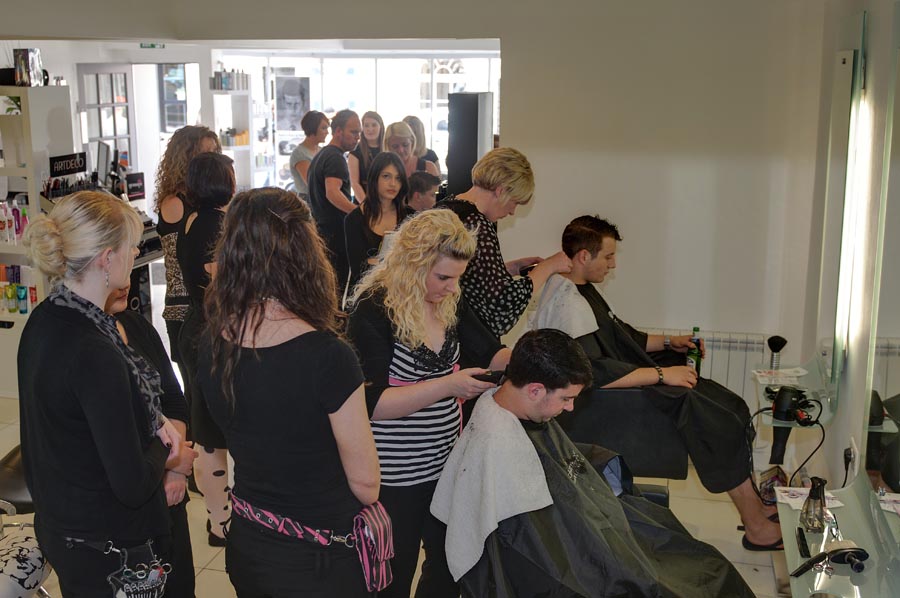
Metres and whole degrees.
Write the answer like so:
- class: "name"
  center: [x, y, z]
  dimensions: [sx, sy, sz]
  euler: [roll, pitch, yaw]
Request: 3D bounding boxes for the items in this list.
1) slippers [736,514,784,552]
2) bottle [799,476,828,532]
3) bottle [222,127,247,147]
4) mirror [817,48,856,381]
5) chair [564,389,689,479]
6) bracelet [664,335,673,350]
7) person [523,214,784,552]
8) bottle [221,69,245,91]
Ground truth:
- class: "slippers"
  center: [1.662, 1.250, 3.756]
  dimensions: [0.256, 0.096, 0.119]
  euler: [-7, 24, -2]
- class: "bottle"
  center: [1.530, 0.837, 2.959]
  dimensions: [0.094, 0.225, 0.222]
  euler: [3, 6, 30]
- class: "bottle"
  center: [-2.947, -2.248, 9.713]
  dimensions: [0.214, 0.110, 0.275]
  euler: [-3, 6, -33]
- class: "mirror"
  center: [1.908, -0.588, 3.555]
  dimensions: [0.258, 1.329, 0.066]
  euler: [0, 2, -22]
- class: "chair"
  center: [0.981, 0.695, 3.744]
  dimensions: [0.502, 0.435, 0.541]
  euler: [1, 5, 18]
- class: "bracelet"
  center: [1.280, 0.252, 4.123]
  dimensions: [0.044, 0.063, 0.068]
  euler: [-2, -27, 15]
- class: "person"
  center: [1.232, 0.489, 3.993]
  dimensions: [1.454, 1.653, 0.947]
  euler: [3, 9, 26]
- class: "bottle"
  center: [-2.925, -2.966, 9.500]
  dimensions: [0.152, 0.293, 0.286]
  euler: [7, 16, 31]
